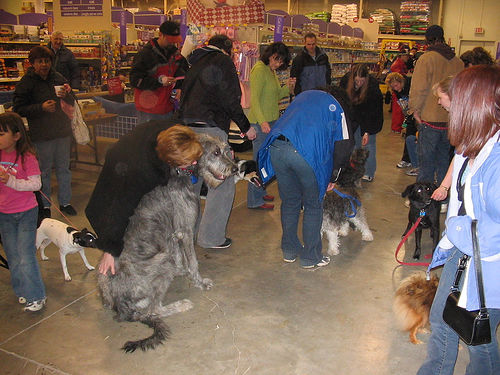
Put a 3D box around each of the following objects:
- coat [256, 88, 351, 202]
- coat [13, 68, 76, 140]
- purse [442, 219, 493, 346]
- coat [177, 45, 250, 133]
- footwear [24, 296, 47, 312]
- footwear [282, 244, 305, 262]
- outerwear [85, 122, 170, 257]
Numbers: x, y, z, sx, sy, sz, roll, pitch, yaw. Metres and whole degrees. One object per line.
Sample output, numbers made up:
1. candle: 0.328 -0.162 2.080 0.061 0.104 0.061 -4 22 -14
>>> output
1. coat: 0.641 -0.541 4.329 0.671 0.951 0.597 17 10 34
2. coat: -2.868 -1.194 5.683 0.641 0.985 0.840 20 32 16
3. purse: 1.438 0.646 2.587 0.295 0.872 0.188 16 21 38
4. coat: -0.470 -1.210 4.881 0.633 0.987 1.030 -11 23 -43
5. footwear: -2.161 1.164 4.078 0.109 0.086 0.201 1 -2 11
6. footwear: 0.537 0.781 4.942 0.126 0.157 0.348 10 20 30
7. outerwear: -1.076 0.021 3.605 0.674 1.102 0.344 -7 19 -31
